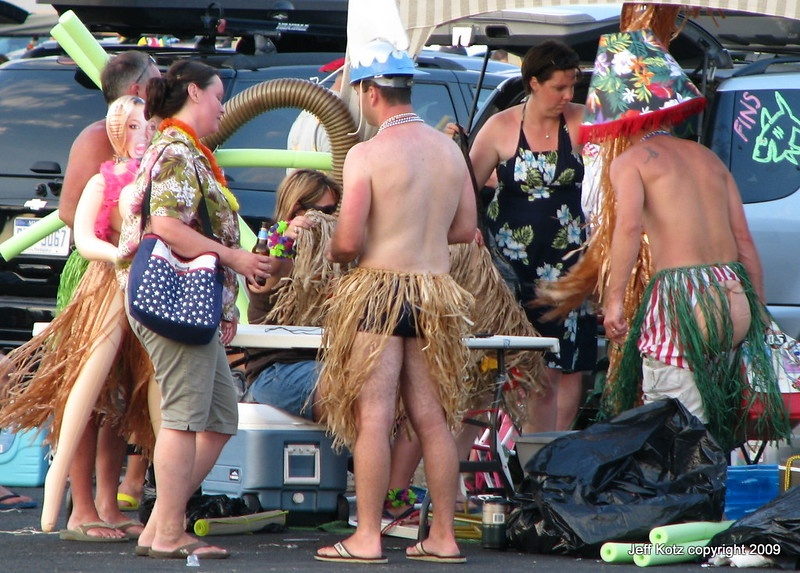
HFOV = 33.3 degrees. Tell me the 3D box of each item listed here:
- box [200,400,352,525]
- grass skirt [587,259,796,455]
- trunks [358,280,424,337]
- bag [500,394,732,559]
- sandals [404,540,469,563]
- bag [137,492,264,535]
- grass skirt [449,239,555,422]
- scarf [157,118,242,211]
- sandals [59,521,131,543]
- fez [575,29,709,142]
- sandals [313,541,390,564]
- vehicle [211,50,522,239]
[{"bbox_3d":[-0.651,0.912,6.930,0.645,0.477,0.623,4,-1,-44],"label":"box"},{"bbox_3d":[1.647,0.221,6.722,1.214,1.156,0.796,1,-3,-16],"label":"grass skirt"},{"bbox_3d":[-0.029,0.112,6.061,0.207,0.286,0.068,6,1,-2],"label":"trunks"},{"bbox_3d":[1.011,0.891,6.181,0.878,0.375,0.680,-10,30,14],"label":"bag"},{"bbox_3d":[0.179,1.197,6.062,0.251,0.073,0.103,3,-2,30],"label":"sandals"},{"bbox_3d":[-0.964,1.121,6.695,0.408,0.157,0.257,0,-3,0],"label":"bag"},{"bbox_3d":[0.508,0.228,6.868,0.662,0.816,0.400,-2,-1,3],"label":"grass skirt"},{"bbox_3d":[-0.883,-0.577,6.189,0.075,0.431,0.345,-37,59,-13],"label":"scarf"},{"bbox_3d":[-1.453,1.192,6.408,0.250,0.065,0.125,-1,2,15],"label":"sandals"},{"bbox_3d":[1.164,-0.965,6.512,0.550,0.370,0.524,-18,11,45],"label":"fez"},{"bbox_3d":[-0.217,1.200,5.953,0.289,0.075,0.113,3,-9,6],"label":"sandals"},{"bbox_3d":[-0.219,-1.016,8.578,1.737,0.858,1.013,-7,6,-9],"label":"vehicle"}]
